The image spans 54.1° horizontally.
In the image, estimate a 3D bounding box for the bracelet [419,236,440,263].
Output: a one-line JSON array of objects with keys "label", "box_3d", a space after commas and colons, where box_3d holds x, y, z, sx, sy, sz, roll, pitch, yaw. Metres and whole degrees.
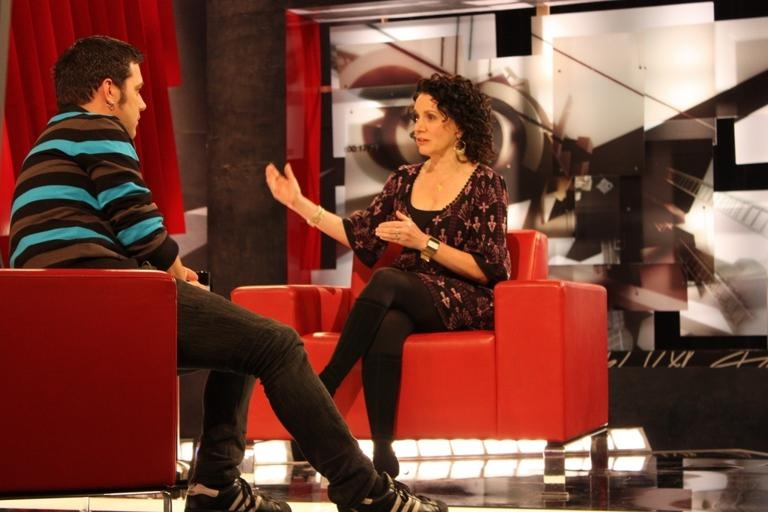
[{"label": "bracelet", "box_3d": [0.248, -0.042, 3.102, 0.065, 0.094, 0.095, 26, -28, 0]}]

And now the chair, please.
[{"label": "chair", "box_3d": [0.220, 0.378, 3.406, 1.551, 1.004, 0.854, -4, -9, 23]}]

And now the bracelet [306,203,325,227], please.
[{"label": "bracelet", "box_3d": [-0.267, -0.183, 3.335, 0.048, 0.080, 0.092, 13, 11, -7]}]

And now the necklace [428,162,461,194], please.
[{"label": "necklace", "box_3d": [0.319, -0.346, 3.336, 0.123, 0.118, 0.040, 3, -16, 26]}]
